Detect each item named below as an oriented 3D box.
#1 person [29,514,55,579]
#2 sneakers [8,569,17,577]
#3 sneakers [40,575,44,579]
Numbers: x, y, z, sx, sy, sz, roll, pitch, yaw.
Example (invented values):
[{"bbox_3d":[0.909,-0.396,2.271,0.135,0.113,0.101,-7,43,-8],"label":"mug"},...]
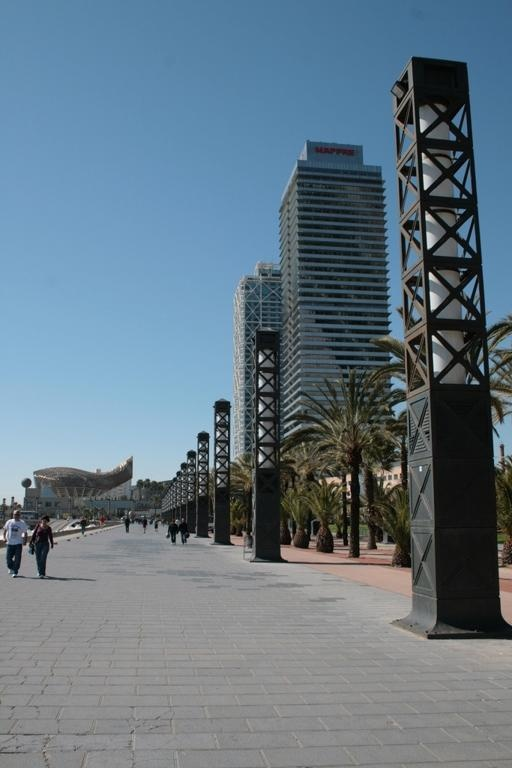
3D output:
[{"bbox_3d":[-4.822,3.664,15.675,0.422,1.343,1.102,2,-10,-17],"label":"person"},{"bbox_3d":[-5.445,4.272,15.576,0.111,0.152,0.339,6,-18,-23],"label":"sneakers"},{"bbox_3d":[-4.678,4.243,15.253,0.067,0.073,0.126,2,-6,-30],"label":"sneakers"}]
